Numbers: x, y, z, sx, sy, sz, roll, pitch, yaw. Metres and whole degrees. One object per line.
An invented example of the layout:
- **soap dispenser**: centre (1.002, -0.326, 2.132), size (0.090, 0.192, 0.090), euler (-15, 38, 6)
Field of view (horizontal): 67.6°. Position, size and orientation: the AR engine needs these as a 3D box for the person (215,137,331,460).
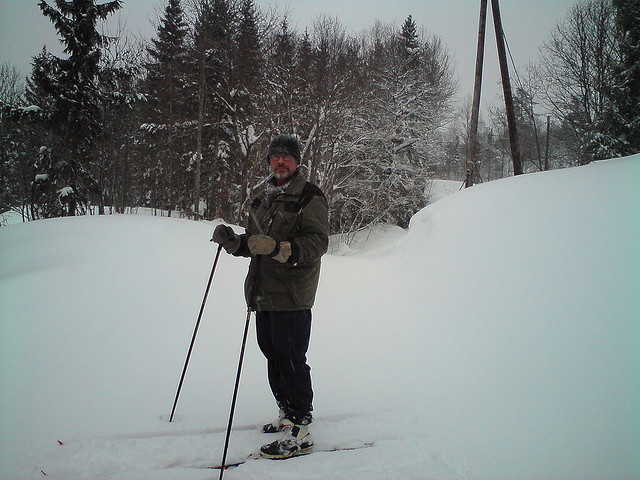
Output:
- **person**: centre (-0.426, 0.585, 5.555), size (1.063, 3.580, 0.796), euler (-1, 3, 7)
